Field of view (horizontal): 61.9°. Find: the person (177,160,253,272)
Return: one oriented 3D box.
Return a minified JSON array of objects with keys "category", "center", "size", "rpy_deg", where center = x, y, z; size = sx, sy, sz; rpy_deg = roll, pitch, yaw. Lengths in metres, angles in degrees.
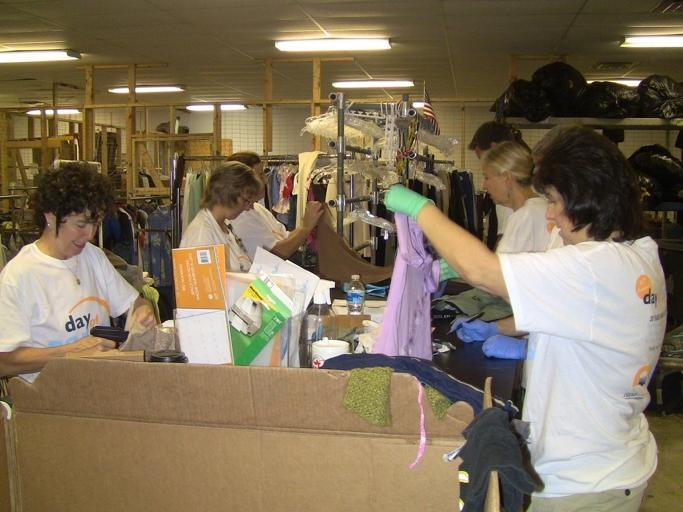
[{"category":"person","center":[-0.770,-0.248,3.534],"size":[0.477,0.809,0.805],"rpy_deg":[1,18,-10]}]

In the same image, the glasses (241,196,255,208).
[{"category":"glasses","center":[-0.586,-0.340,3.612],"size":[0.034,0.062,0.059],"rpy_deg":[9,3,-29]}]

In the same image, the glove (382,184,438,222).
[{"category":"glove","center":[0.234,-0.189,1.909],"size":[0.163,0.083,0.099],"rpy_deg":[25,-10,41]}]

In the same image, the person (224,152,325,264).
[{"category":"person","center":[-0.516,-0.300,4.444],"size":[0.730,0.900,0.611],"rpy_deg":[-13,11,-20]}]

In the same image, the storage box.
[{"category":"storage box","center":[-0.324,0.166,2.021],"size":[0.373,0.428,0.610],"rpy_deg":[3,6,19]}]

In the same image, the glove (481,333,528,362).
[{"category":"glove","center":[0.702,0.395,2.447],"size":[0.159,0.099,0.059],"rpy_deg":[6,-21,-1]}]
